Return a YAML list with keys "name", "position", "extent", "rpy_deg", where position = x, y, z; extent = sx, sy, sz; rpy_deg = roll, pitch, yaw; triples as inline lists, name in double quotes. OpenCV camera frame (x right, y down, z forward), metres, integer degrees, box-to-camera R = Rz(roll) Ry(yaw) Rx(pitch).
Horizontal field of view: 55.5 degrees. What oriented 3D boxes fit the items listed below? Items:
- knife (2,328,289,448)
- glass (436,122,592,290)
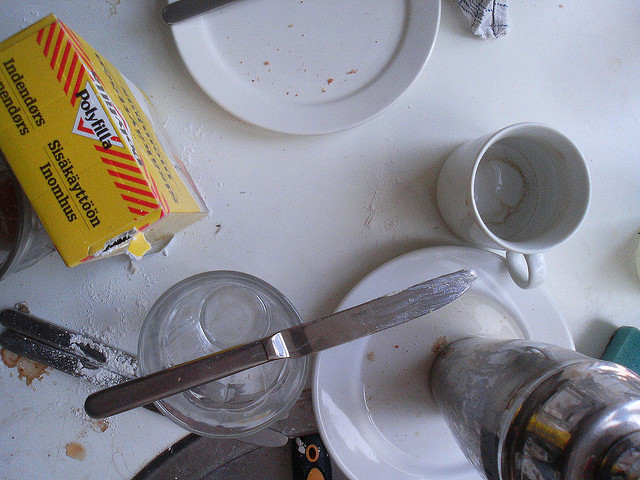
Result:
- name: "knife"
  position: [-0.277, 0.219, 0.922]
  extent: [0.357, 0.047, 0.019]
  rpy_deg: [30, 4, -3]
- name: "glass"
  position: [0.296, -0.082, 1.012]
  extent: [0.193, 0.175, 0.150]
  rpy_deg: [-12, 5, -32]
